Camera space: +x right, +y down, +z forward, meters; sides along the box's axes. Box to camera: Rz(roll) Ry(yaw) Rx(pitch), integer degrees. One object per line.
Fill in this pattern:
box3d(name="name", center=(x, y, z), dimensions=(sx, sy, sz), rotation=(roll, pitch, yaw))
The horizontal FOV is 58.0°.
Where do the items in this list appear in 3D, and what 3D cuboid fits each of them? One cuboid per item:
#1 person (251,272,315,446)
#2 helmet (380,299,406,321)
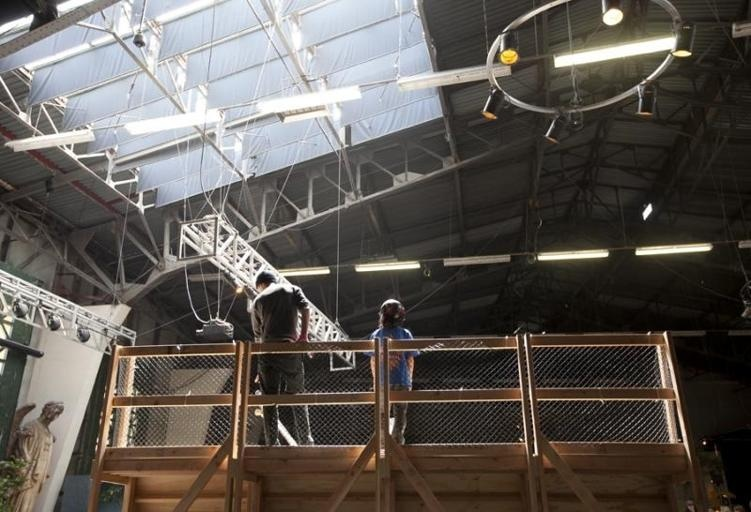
box3d(name="person", center=(-1.627, 1.726, 11.748), dimensions=(1.222, 2.869, 1.129), rotation=(4, -33, -4))
box3d(name="helmet", center=(0.296, 0.993, 12.120), dimensions=(0.347, 0.414, 0.431), rotation=(2, -62, 3))
